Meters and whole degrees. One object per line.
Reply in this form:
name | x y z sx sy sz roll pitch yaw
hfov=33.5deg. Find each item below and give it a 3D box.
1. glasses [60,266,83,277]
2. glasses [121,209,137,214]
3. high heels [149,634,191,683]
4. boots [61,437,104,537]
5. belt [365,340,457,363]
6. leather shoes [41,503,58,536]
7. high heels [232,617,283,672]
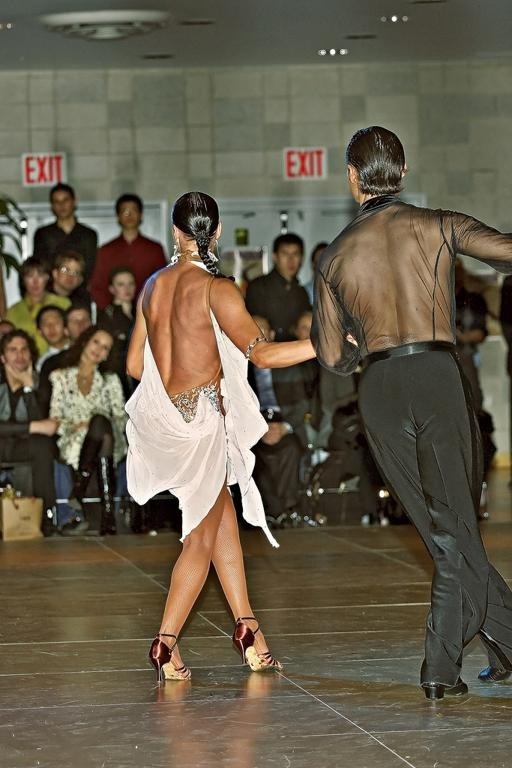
glasses | -1.753 -1.067 8.165 0.211 0.066 0.042 3 -9 -34
glasses | -1.355 -1.865 9.194 0.099 0.060 0.095 4 -5 -41
high heels | -0.284 0.914 2.853 0.127 0.162 0.119 -2 -7 -3
boots | -1.408 0.826 6.887 0.292 0.780 0.151 -7 -9 31
belt | 0.431 -0.088 2.414 0.258 0.049 0.094 -4 -7 14
leather shoes | -1.648 1.098 6.824 0.107 0.241 0.082 0 -8 -16
high heels | 0.010 0.909 2.982 0.152 0.190 0.140 -3 -8 6
